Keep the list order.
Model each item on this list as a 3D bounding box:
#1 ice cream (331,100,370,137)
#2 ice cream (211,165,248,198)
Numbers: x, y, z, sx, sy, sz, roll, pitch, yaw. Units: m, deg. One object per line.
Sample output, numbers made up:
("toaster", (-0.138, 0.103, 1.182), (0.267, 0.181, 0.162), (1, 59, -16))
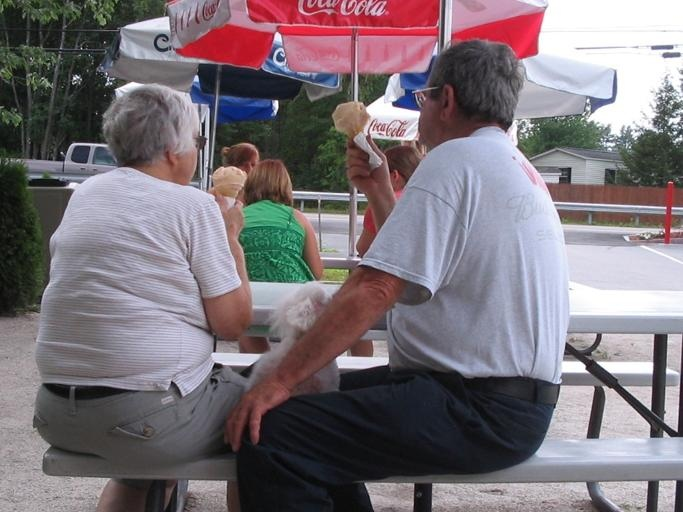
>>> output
("ice cream", (0.081, -0.814, 5.960), (0.204, 0.083, 0.201), (-2, -14, 18))
("ice cream", (-0.657, -0.447, 6.069), (0.217, 0.167, 0.199), (1, 4, -35))
